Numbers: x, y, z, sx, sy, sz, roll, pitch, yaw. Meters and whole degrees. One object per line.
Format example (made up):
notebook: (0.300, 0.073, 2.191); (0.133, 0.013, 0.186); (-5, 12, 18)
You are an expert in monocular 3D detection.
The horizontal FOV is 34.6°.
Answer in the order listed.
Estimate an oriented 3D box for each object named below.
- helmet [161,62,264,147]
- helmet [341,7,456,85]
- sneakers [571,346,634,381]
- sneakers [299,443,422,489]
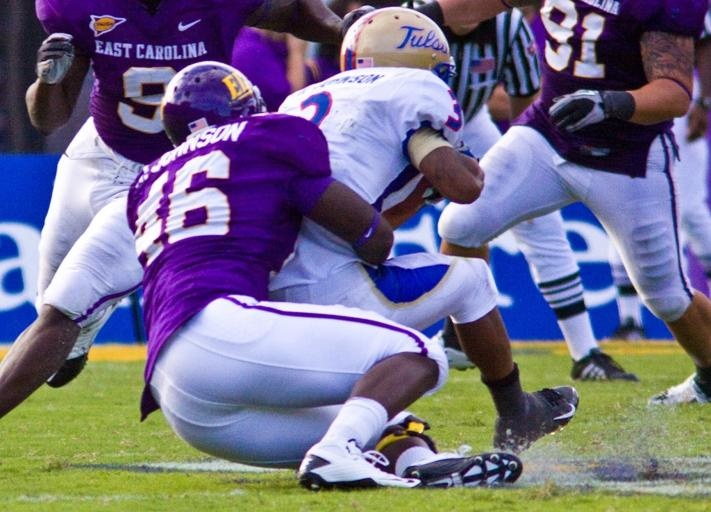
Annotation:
helmet: (-0.532, -0.572, 4.281); (0.355, 0.276, 0.272); (-25, 8, -22)
helmet: (0.135, -0.812, 4.436); (0.375, 0.278, 0.265); (-22, 6, -21)
sneakers: (1.260, 0.571, 6.024); (0.381, 0.153, 0.135); (1, 6, 8)
sneakers: (0.049, 0.717, 3.943); (0.489, 0.203, 0.162); (3, -9, -8)
